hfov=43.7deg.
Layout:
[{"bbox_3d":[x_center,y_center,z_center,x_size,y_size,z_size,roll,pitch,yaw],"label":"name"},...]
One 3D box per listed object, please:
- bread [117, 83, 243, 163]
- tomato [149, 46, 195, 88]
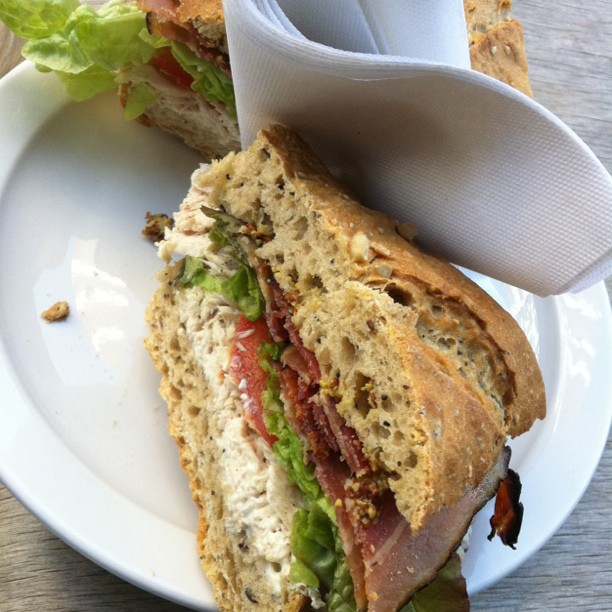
[{"bbox_3d":[-0.491,-0.719,2.957,0.408,0.310,0.132,32,92,-16],"label":"bread"},{"bbox_3d":[-0.517,-0.909,2.911,0.159,0.050,0.129,13,50,-9],"label":"tomato"}]
